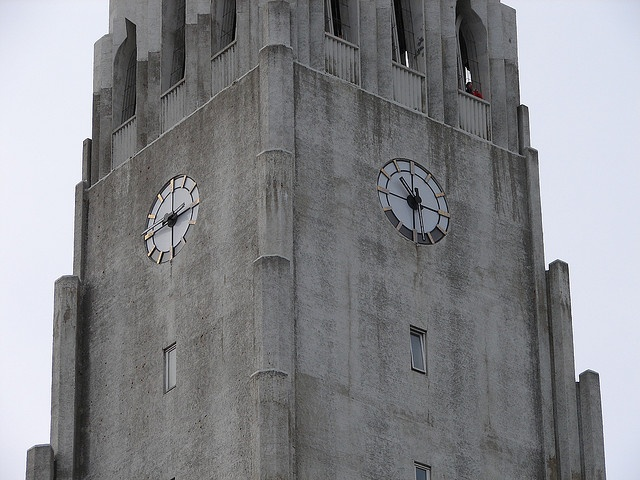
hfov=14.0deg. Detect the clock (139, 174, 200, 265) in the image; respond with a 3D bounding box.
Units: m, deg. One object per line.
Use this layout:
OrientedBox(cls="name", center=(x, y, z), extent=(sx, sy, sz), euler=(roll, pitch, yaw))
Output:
OrientedBox(cls="clock", center=(-4.715, -0.540, 79.452), extent=(0.329, 2.127, 2.018), euler=(26, -50, -30))
